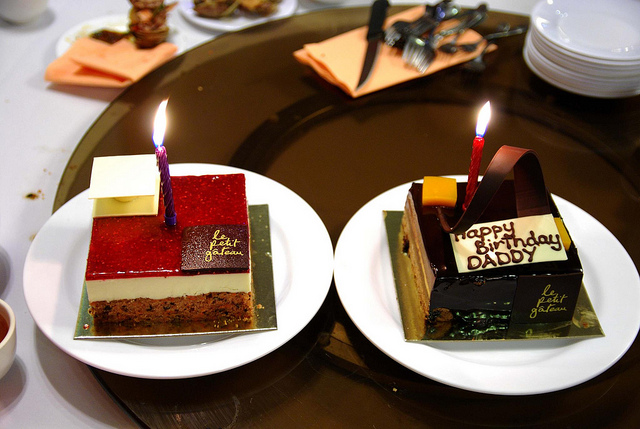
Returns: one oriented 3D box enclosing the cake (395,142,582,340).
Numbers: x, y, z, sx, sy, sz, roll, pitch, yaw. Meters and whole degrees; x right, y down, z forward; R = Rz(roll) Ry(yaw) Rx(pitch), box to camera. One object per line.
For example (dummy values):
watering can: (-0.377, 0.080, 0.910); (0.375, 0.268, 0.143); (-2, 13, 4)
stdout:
cake: (0.719, 0.182, 2.452); (0.789, 0.887, 0.918); (1, 47, 5)

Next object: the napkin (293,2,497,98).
napkin: (0.402, -0.969, 3.043); (0.971, 0.113, 0.623); (-21, 53, -19)

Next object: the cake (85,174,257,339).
cake: (-0.669, 0.311, 2.519); (0.666, 0.335, 0.688); (-4, 65, -2)

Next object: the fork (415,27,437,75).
fork: (0.647, -0.992, 3.037); (0.081, 0.013, 0.307); (19, 66, 18)

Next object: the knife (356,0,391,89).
knife: (0.320, -1.069, 3.073); (0.122, 0.040, 0.802); (8, 54, 13)
